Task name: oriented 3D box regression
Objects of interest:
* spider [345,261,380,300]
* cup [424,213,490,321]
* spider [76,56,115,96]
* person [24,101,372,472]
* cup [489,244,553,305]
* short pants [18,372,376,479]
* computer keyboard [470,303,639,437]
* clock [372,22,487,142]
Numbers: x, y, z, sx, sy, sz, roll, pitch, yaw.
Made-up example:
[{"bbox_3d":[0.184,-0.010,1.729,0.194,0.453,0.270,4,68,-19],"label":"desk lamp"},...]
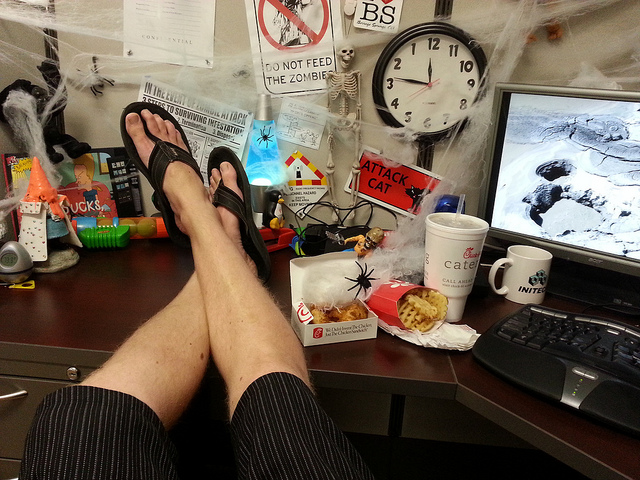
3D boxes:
[{"bbox_3d":[0.086,0.085,0.991,0.065,0.059,0.012,16,-23,-20],"label":"spider"},{"bbox_3d":[0.274,0.058,1.005,0.111,0.218,0.101,-5,19,-16],"label":"cup"},{"bbox_3d":[-0.625,-0.465,1.375,0.077,0.086,0.087,-5,29,-3],"label":"spider"},{"bbox_3d":[-0.291,0.081,0.977,0.463,0.217,0.791,-7,51,-23],"label":"person"},{"bbox_3d":[0.440,0.081,1.089,0.139,0.114,0.089,-5,19,-12],"label":"cup"},{"bbox_3d":[-0.196,0.319,0.784,0.569,0.169,0.121,1,18,-1],"label":"short pants"},{"bbox_3d":[0.444,0.215,0.903,0.276,0.094,0.222,12,21,29],"label":"computer keyboard"},{"bbox_3d":[0.289,-0.414,1.282,0.303,0.308,0.049,5,7,16],"label":"clock"}]
